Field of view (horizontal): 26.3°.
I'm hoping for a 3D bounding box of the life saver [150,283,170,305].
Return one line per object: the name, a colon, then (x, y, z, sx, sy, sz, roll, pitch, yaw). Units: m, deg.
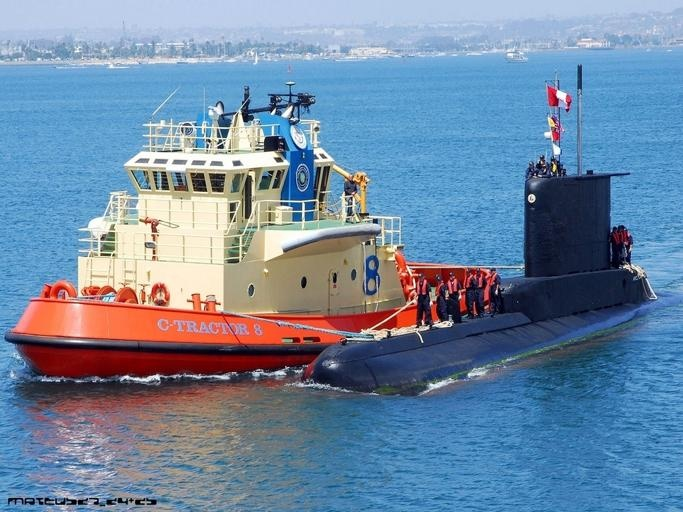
life saver: (-6.885, 1.463, 55.550, 0.685, 0.853, 0.457, -9, 12, -10)
